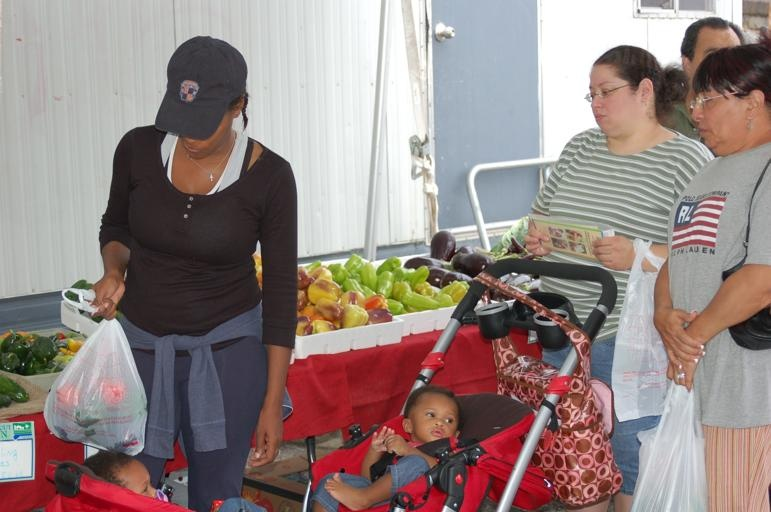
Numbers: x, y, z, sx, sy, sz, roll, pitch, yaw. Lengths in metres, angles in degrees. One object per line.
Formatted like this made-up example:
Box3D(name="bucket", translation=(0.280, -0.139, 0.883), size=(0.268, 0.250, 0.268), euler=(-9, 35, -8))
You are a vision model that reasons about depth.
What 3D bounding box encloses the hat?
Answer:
Box3D(name="hat", translation=(-0.643, -0.601, 2.283), size=(0.267, 0.212, 0.437), euler=(11, 47, 4))
